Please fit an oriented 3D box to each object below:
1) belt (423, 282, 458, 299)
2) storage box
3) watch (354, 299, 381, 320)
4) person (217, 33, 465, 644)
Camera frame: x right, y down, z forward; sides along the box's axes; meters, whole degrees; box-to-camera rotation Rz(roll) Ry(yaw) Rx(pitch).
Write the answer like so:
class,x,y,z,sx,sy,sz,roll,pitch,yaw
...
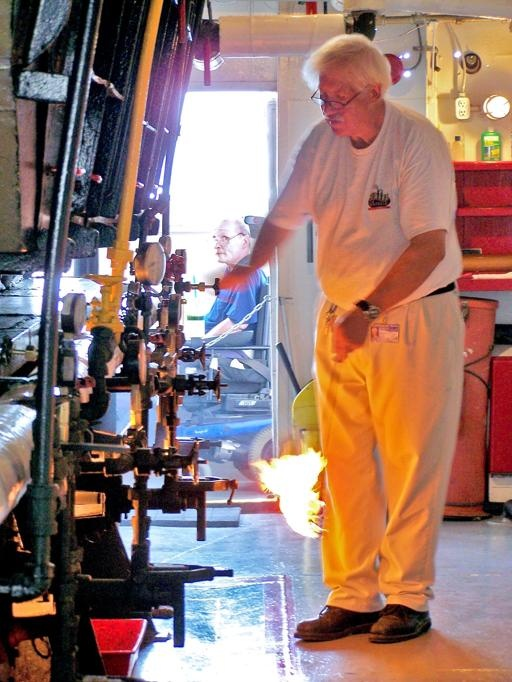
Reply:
class,x,y,z,sx,sy,sz,roll,pitch,yaw
belt,0.584,-0.153,2.472,0.071,0.041,0.061,2,-1,0
storage box,-0.381,0.841,2.181,0.154,0.095,0.440,1,-4,-7
watch,0.330,-0.090,2.339,0.075,0.029,0.043,24,-27,8
person,0.361,-0.004,2.529,0.603,1.858,0.556,1,-4,-7
